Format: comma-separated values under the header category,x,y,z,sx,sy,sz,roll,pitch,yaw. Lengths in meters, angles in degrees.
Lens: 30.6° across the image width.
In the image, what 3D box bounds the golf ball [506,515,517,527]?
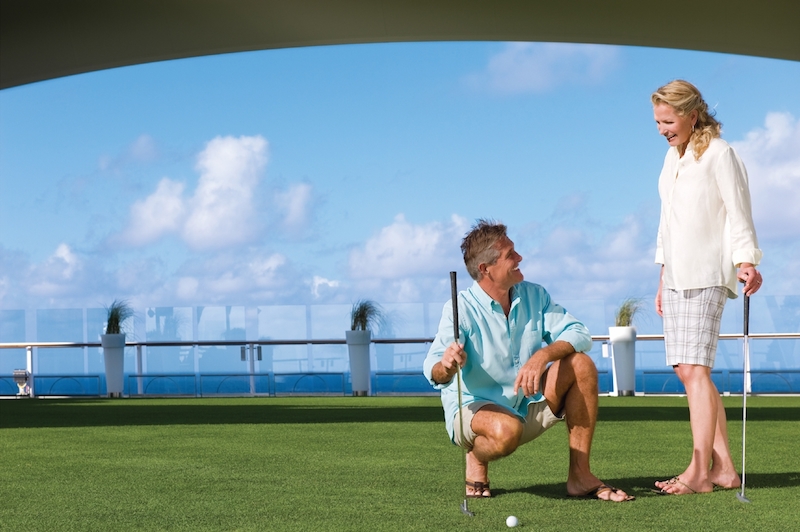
category,x,y,z,sx,sy,sz,roll,pitch,yaw
golf ball,1.362,3.161,18.198,0.129,0.066,0.127,-1,0,0

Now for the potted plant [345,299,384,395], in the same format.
category,x,y,z,sx,sy,sz,roll,pitch,yaw
potted plant,-0.637,1.363,24.878,0.583,1.613,0.338,-4,-7,-1

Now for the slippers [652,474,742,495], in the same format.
category,x,y,z,sx,sy,sz,roll,pitch,yaw
slippers,3.753,2.772,18.612,1.057,0.172,0.365,0,-7,1

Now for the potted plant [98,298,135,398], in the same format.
category,x,y,z,sx,sy,sz,roll,pitch,yaw
potted plant,-4.864,1.388,25.092,0.509,1.636,0.373,-2,-7,-12

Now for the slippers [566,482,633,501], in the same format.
category,x,y,z,sx,sy,sz,roll,pitch,yaw
slippers,2.530,2.859,18.578,0.767,0.171,0.293,-1,-5,4
